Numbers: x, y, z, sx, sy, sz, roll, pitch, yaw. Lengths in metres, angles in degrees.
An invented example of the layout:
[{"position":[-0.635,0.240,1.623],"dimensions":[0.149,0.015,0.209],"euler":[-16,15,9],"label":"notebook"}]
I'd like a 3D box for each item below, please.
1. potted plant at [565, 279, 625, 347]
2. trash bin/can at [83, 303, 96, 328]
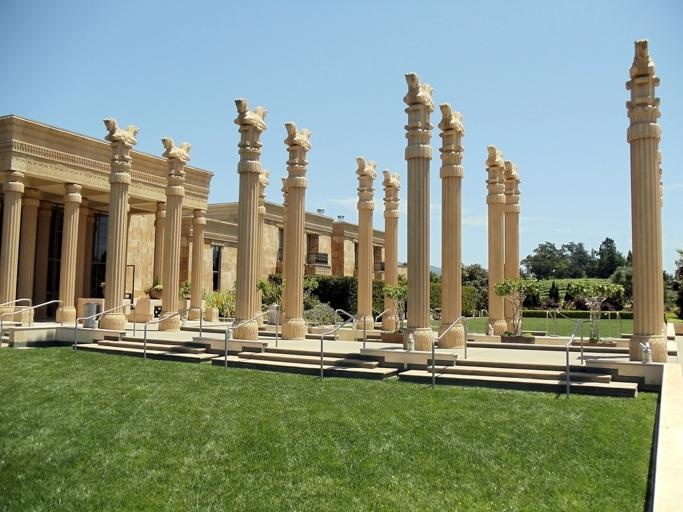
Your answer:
[{"position":[8.461,1.851,20.750],"dimensions":[1.760,2.086,1.732],"euler":[5,-3,-34],"label":"potted plant"},{"position":[-9.882,2.332,24.529],"dimensions":[0.540,0.899,1.011],"euler":[-4,7,-23],"label":"trash bin/can"}]
